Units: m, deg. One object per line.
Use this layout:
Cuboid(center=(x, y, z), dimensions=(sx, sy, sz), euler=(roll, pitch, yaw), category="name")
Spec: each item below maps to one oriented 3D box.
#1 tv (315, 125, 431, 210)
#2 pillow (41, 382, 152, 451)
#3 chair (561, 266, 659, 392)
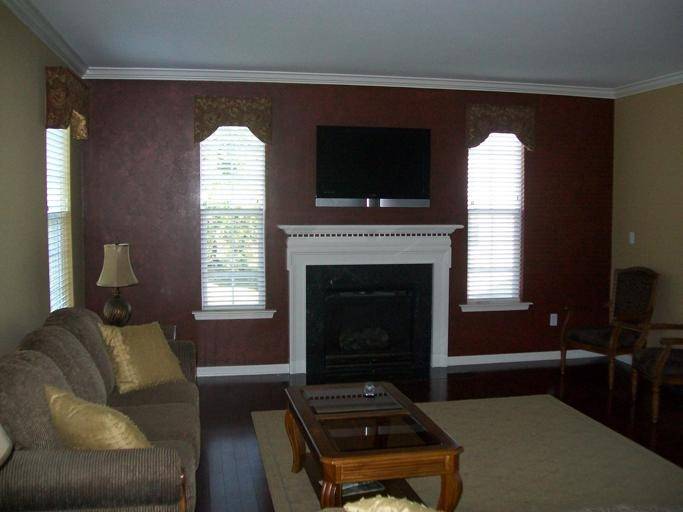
Cuboid(center=(0.332, -0.956, 6.218), dimensions=(1.218, 0.894, 0.098), euler=(0, -7, 3), category="tv")
Cuboid(center=(-1.386, 0.906, 3.215), dimensions=(0.566, 0.333, 0.177), euler=(1, 11, 5), category="pillow")
Cuboid(center=(2.865, 0.712, 6.129), dimensions=(0.789, 1.193, 0.741), euler=(-1, 4, -16), category="chair")
